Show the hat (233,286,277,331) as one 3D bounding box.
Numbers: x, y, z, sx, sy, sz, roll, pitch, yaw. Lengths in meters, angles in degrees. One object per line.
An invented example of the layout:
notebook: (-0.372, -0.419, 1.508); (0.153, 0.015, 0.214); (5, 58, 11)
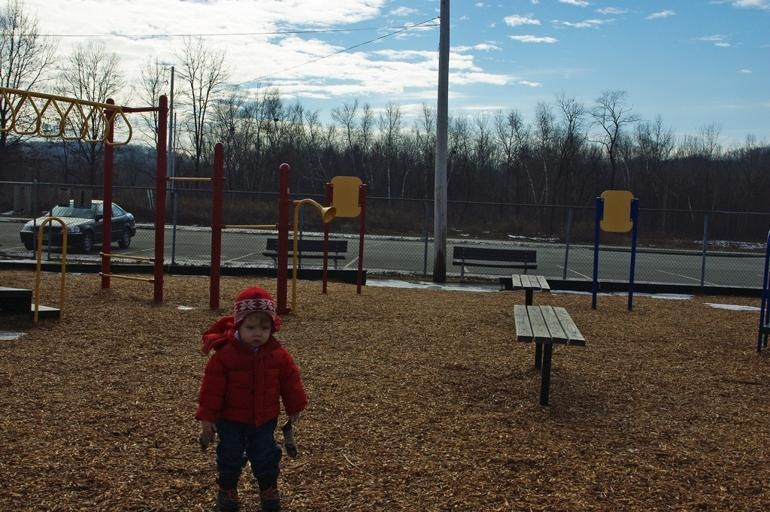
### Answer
hat: (-1.233, 0.498, 7.804); (0.464, 0.425, 0.522); (0, -2, -13)

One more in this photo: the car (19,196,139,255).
car: (-7.826, -0.731, 20.432); (1.880, 1.320, 6.075); (1, 4, -5)
